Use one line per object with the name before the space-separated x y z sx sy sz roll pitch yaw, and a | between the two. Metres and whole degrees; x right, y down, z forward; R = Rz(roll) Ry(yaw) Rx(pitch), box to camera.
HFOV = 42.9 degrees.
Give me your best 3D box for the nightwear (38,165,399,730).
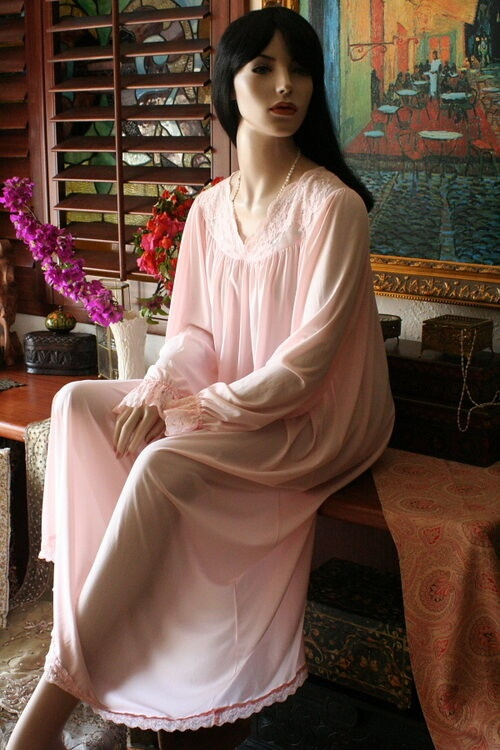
nightwear | -0.081 0.090 1.066 0.571 0.835 0.508 4 12 12
